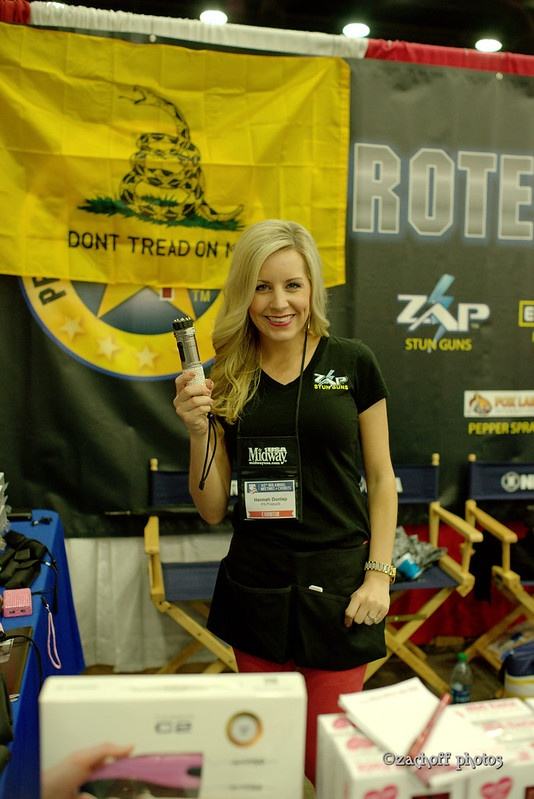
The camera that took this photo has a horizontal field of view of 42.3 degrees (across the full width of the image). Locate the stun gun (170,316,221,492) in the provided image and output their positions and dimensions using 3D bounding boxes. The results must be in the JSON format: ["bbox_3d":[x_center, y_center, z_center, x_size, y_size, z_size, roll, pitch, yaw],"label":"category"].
[{"bbox_3d":[-0.111,-0.016,1.247,0.040,0.271,0.037,-16,2,-9],"label":"stun gun"}]

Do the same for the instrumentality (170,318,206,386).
[{"bbox_3d":[-0.144,-0.092,1.292,0.053,0.126,0.229,-2,3,-7],"label":"instrumentality"}]

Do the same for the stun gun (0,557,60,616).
[{"bbox_3d":[-0.713,0.583,2.174,0.131,0.054,0.221,2,18,-7],"label":"stun gun"}]

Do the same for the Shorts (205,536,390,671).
[{"bbox_3d":[0.068,0.413,1.475,0.381,0.257,0.204,2,3,9],"label":"Shorts"}]

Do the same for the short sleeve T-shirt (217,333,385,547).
[{"bbox_3d":[0.074,0.090,1.441,0.423,0.397,0.211,-7,-8,17],"label":"short sleeve T-shirt"}]

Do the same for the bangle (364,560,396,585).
[{"bbox_3d":[0.243,0.359,1.447,0.067,0.039,0.066,28,-18,-33],"label":"bangle"}]
